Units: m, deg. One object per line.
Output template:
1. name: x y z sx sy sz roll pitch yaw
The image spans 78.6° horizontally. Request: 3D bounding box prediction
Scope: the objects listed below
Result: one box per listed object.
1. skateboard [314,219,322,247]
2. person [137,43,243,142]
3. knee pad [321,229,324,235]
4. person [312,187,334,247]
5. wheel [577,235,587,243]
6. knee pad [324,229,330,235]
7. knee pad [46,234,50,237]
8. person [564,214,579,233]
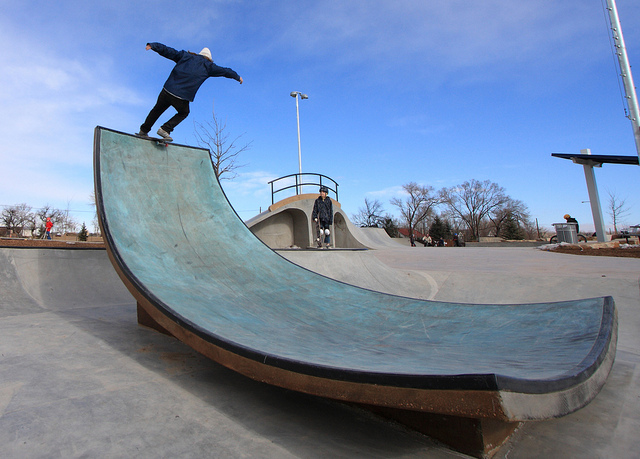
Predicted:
1. skateboard: -0.066 0.093 9.728 0.174 0.680 0.107 -2 0 19
2. person: -2.278 -2.214 6.318 0.565 1.560 1.467 10 14 28
3. knee pad: 0.038 0.056 9.548 0.025 0.101 0.097 -17 -26 28
4. person: 0.054 -0.241 9.617 0.472 1.662 1.347 3 12 1
5. wheel: 12.803 0.463 19.188 0.299 0.386 0.403 -21 18 -37
6. knee pad: 0.167 0.069 9.441 0.114 0.106 0.117 -11 2 -42
7. knee pad: -12.075 0.246 17.309 0.079 0.106 0.027 6 14 12
8. person: 11.451 -0.330 17.828 0.463 0.587 1.972 9 13 26
